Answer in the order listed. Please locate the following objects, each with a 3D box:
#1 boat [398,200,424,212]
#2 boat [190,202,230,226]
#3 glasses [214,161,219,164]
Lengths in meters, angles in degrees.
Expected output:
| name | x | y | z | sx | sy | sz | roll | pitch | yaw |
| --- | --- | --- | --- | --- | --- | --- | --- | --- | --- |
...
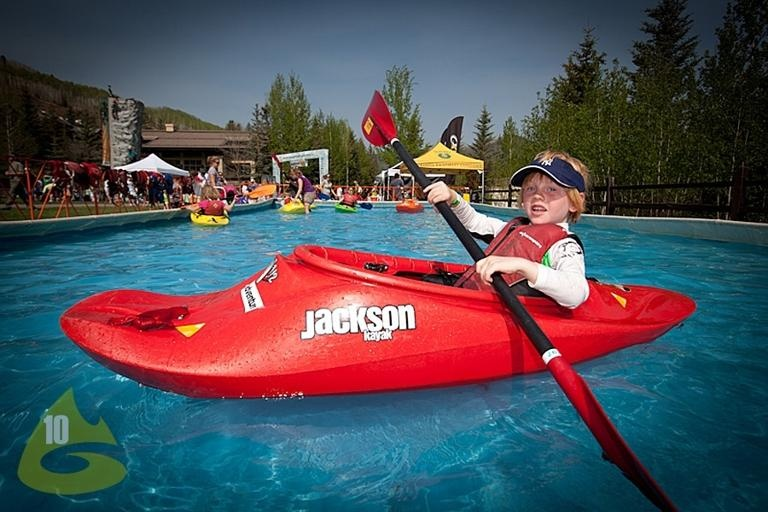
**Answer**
| name | x | y | z | sx | sy | sz | roll | pitch | yaw |
| --- | --- | --- | --- | --- | --- | --- | --- | --- | --- |
| boat | 0.973 | -1.790 | 16.947 | 0.677 | 0.414 | 0.716 | 2 | 3 | 13 |
| boat | -4.380 | -1.014 | 11.008 | 0.945 | 0.630 | 0.828 | 1 | 6 | -2 |
| glasses | -4.605 | -2.521 | 12.126 | 0.137 | 0.115 | 0.203 | -1 | 6 | -22 |
